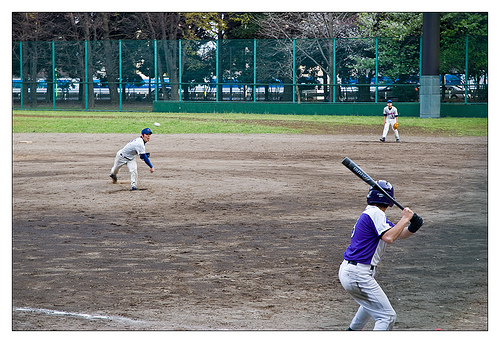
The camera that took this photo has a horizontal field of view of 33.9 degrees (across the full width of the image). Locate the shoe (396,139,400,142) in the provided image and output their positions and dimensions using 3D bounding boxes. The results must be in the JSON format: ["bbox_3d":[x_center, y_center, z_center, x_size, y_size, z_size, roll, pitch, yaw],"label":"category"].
[{"bbox_3d":[7.314,-1.534,40.479,0.126,0.110,0.127,4,4,31],"label":"shoe"}]

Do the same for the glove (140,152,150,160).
[{"bbox_3d":[-3.783,-0.558,29.504,0.396,0.335,0.223,5,31,-6],"label":"glove"}]

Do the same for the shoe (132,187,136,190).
[{"bbox_3d":[-4.128,0.588,29.237,0.112,0.069,0.106,4,-3,-40],"label":"shoe"}]

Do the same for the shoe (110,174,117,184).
[{"bbox_3d":[-5.001,0.259,30.069,0.176,0.360,0.558,-1,6,-5],"label":"shoe"}]

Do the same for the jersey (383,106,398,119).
[{"bbox_3d":[6.871,-2.873,40.048,0.583,0.576,0.642,0,6,4],"label":"jersey"}]

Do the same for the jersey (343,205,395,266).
[{"bbox_3d":[3.211,1.698,20.346,1.482,1.506,1.729,6,0,-4],"label":"jersey"}]

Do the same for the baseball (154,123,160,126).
[{"bbox_3d":[-5.198,-2.647,45.667,0.266,0.112,0.241,0,3,-4],"label":"baseball"}]

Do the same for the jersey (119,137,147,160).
[{"bbox_3d":[-4.092,-0.815,29.069,0.943,0.803,0.368,2,7,27],"label":"jersey"}]
